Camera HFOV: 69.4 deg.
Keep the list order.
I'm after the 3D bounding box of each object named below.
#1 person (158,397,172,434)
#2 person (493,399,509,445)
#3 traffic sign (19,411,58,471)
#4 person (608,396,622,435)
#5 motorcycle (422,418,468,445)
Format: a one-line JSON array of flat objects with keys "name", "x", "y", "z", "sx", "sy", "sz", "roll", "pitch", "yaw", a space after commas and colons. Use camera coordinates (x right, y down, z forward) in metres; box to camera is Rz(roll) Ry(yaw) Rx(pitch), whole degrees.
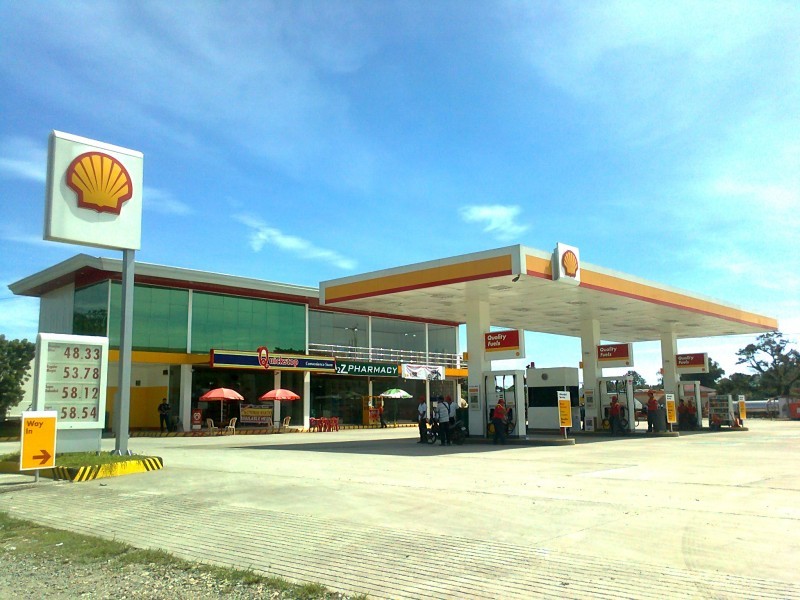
[{"name": "person", "x": -12.983, "y": 6.496, "z": 32.190, "sx": 0.548, "sy": 1.510, "sz": 1.038, "roll": 0, "pitch": -12, "yaw": -5}, {"name": "person", "x": 3.534, "y": 4.228, "z": 20.379, "sx": 0.489, "sy": 1.592, "sz": 1.145, "roll": -4, "pitch": -12, "yaw": 11}, {"name": "traffic sign", "x": -7.391, "y": 2.888, "z": 11.863, "sx": 0.631, "sy": 1.186, "sz": 0.446, "roll": 7, "pitch": -14, "yaw": -34}, {"name": "person", "x": 9.651, "y": 5.122, "z": 25.969, "sx": 0.504, "sy": 1.710, "sz": 1.304, "roll": -6, "pitch": -12, "yaw": 21}, {"name": "motorcycle", "x": 1.739, "y": 4.950, "z": 21.591, "sx": 1.892, "sy": 1.062, "sz": 0.825, "roll": 10, "pitch": -29, "yaw": -12}]
